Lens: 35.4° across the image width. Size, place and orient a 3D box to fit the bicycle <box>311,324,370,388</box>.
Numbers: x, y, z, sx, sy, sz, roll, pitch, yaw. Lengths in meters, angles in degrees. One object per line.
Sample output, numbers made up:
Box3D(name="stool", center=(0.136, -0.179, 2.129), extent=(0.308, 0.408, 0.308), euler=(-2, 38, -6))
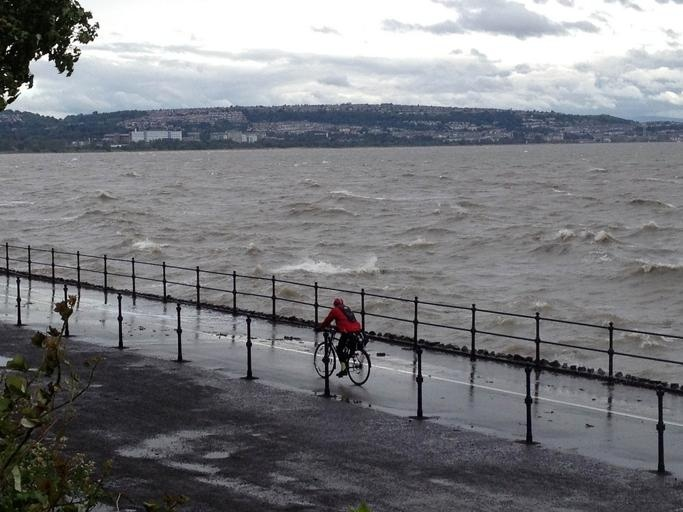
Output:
Box3D(name="bicycle", center=(-0.111, 2.251, 24.348), extent=(0.802, 1.003, 1.776), euler=(-4, 9, -43))

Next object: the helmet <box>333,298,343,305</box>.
Box3D(name="helmet", center=(-0.148, 0.994, 23.683), extent=(0.199, 0.134, 0.309), euler=(9, -6, -1))

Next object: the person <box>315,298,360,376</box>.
Box3D(name="person", center=(-0.040, 1.820, 23.853), extent=(0.883, 1.749, 0.875), euler=(3, 8, -3))

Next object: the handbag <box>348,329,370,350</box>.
Box3D(name="handbag", center=(0.375, 1.866, 23.721), extent=(0.294, 0.499, 0.588), euler=(5, 8, 11))

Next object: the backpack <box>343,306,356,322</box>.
Box3D(name="backpack", center=(0.098, 1.324, 23.620), extent=(0.257, 0.312, 0.116), euler=(-3, -34, -48))
